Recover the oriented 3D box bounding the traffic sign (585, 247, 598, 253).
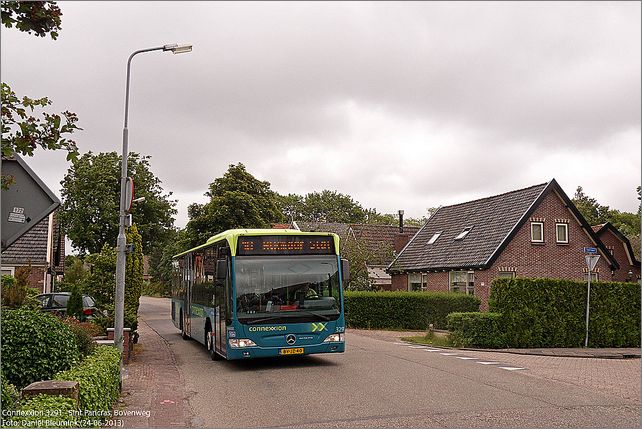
[{"bbox_3d":[10.521,1.384,24.034,0.334,0.205,1.613,-1,-4,27],"label":"traffic sign"}]

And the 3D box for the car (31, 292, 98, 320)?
[{"bbox_3d":[-8.853,3.161,21.310,2.065,1.051,1.336,5,-9,2],"label":"car"}]
